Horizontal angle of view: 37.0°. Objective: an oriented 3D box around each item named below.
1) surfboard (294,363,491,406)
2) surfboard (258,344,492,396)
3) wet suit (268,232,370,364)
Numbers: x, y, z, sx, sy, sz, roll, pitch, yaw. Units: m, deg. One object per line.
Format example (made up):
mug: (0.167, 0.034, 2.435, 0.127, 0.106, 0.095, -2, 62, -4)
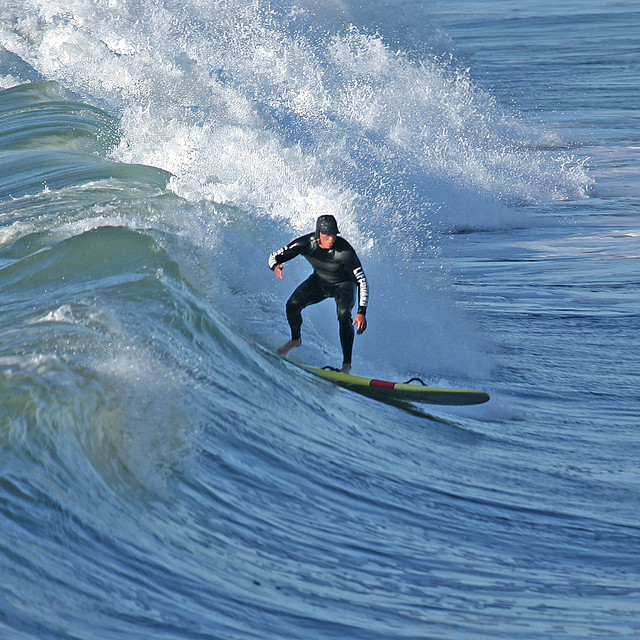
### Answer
surfboard: (0.820, 0.760, 11.186, 1.752, 0.221, 0.165, 8, 51, 22)
surfboard: (0.649, 0.610, 11.504, 2.477, 0.244, 0.201, 9, 46, 27)
wet suit: (0.019, -0.386, 10.954, 1.233, 1.772, 1.123, 9, 20, 11)
